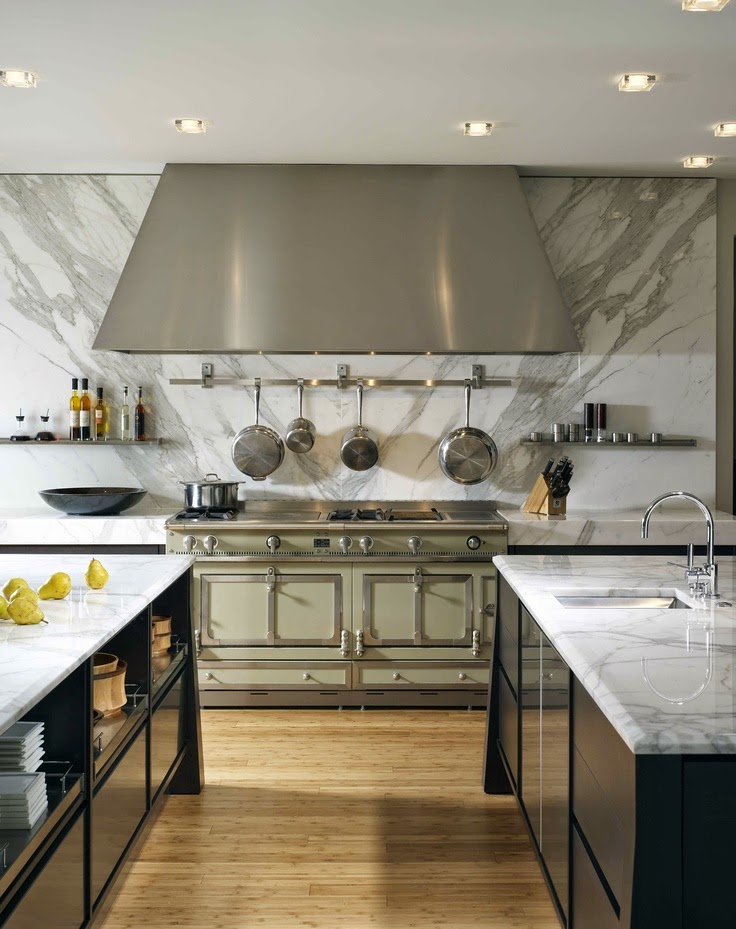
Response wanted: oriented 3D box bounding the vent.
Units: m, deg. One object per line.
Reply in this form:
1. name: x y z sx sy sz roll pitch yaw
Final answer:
1. vent: -0.140 -0.978 4.288 2.228 0.865 0.422 0 1 -1

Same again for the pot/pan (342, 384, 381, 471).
1. pot/pan: -0.036 -0.188 4.568 0.190 0.458 0.128 0 4 1

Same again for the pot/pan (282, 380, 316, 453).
1. pot/pan: -0.348 -0.240 4.554 0.159 0.380 0.131 0 4 -3

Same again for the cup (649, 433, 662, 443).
1. cup: 1.465 -0.138 4.520 0.078 0.067 0.052 -1 -3 3

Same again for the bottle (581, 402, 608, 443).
1. bottle: 1.171 -0.221 4.552 0.132 0.199 0.196 1 4 9

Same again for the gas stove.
1. gas stove: -0.123 0.313 4.329 1.573 0.233 0.665 0 4 3

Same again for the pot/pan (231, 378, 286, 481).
1. pot/pan: -0.555 -0.175 4.521 0.253 0.521 0.221 0 4 -4

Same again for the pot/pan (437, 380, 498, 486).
1. pot/pan: 0.513 -0.159 4.560 0.301 0.534 0.191 0 4 6

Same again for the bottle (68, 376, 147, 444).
1. bottle: -1.327 -0.282 4.529 0.417 0.327 0.226 0 4 -8

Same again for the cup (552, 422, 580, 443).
1. cup: 1.030 -0.166 4.588 0.174 0.105 0.099 0 -1 -15

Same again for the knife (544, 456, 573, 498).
1. knife: 0.946 0.066 4.375 0.138 0.220 0.084 5 -5 0

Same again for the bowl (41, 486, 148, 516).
1. bowl: -1.351 0.177 4.398 0.475 0.120 0.461 0 4 0
